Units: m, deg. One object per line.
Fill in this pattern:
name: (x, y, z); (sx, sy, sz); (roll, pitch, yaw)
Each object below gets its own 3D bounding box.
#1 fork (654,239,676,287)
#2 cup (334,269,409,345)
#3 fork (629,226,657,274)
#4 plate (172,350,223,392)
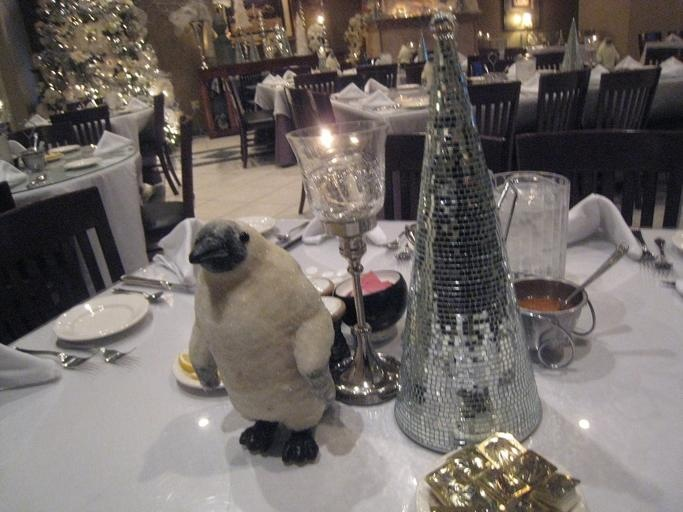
fork: (0.572, 0.015, 0.889); (0.020, 0.014, 0.086); (-2, 58, 12)
cup: (0.054, 0.090, 0.823); (0.093, 0.080, 0.099); (-8, 8, 1)
fork: (0.566, -0.014, 0.944); (0.029, 0.014, 0.101); (-2, 40, 11)
plate: (-0.221, 0.174, 0.761); (0.061, 0.012, 0.068); (6, 39, -1)
